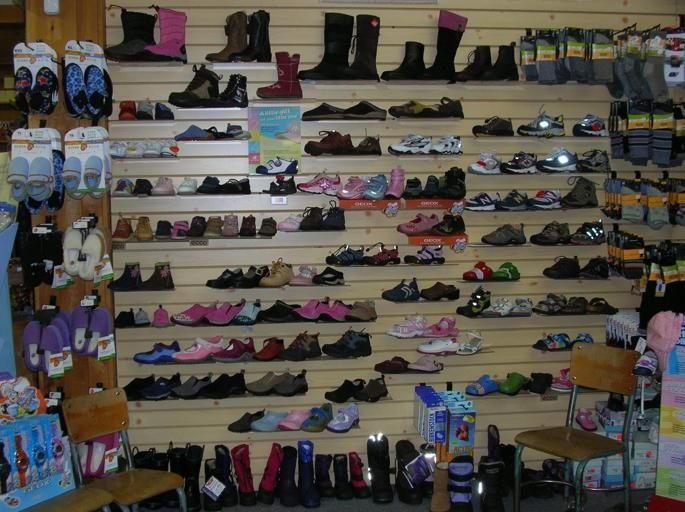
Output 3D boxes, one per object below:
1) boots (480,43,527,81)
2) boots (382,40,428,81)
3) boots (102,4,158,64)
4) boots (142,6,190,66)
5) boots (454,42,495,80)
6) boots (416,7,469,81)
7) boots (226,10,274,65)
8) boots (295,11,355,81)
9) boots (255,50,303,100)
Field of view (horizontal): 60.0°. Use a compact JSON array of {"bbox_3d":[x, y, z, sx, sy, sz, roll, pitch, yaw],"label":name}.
[{"bbox_3d":[1.469,-1.737,5.364,0.494,0.384,0.216,-1,6,-8],"label":"boots"},{"bbox_3d":[0.564,-1.790,5.435,0.523,0.323,0.200,-14,30,-32],"label":"boots"},{"bbox_3d":[-1.797,-1.938,5.288,0.653,0.522,0.293,-1,9,-20],"label":"boots"},{"bbox_3d":[-1.564,-1.950,5.220,0.312,0.443,0.190,-1,16,-3],"label":"boots"},{"bbox_3d":[1.206,-1.778,5.492,0.404,0.255,0.164,-17,35,-11],"label":"boots"},{"bbox_3d":[0.953,-1.928,5.465,0.338,0.627,0.426,3,16,11],"label":"boots"},{"bbox_3d":[-0.835,-1.968,5.323,0.399,0.460,0.230,-4,17,-15],"label":"boots"},{"bbox_3d":[-0.153,-1.892,5.375,0.480,0.600,0.349,1,16,1],"label":"boots"},{"bbox_3d":[-0.560,-1.632,5.419,0.488,0.398,0.226,6,17,16],"label":"boots"}]
